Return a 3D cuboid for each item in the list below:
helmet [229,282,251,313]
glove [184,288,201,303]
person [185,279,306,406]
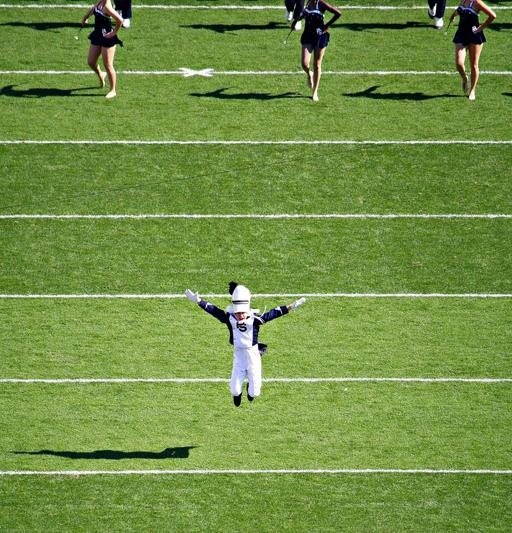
[{"bbox_3d":[-0.190,0.428,18.782,0.240,0.384,0.393,-1,25,-2],"label":"helmet"},{"bbox_3d":[-0.755,0.374,18.857,0.165,0.207,0.060,-53,24,-19],"label":"glove"},{"bbox_3d":[-0.103,1.043,18.930,1.368,1.846,0.547,-1,29,0],"label":"person"}]
